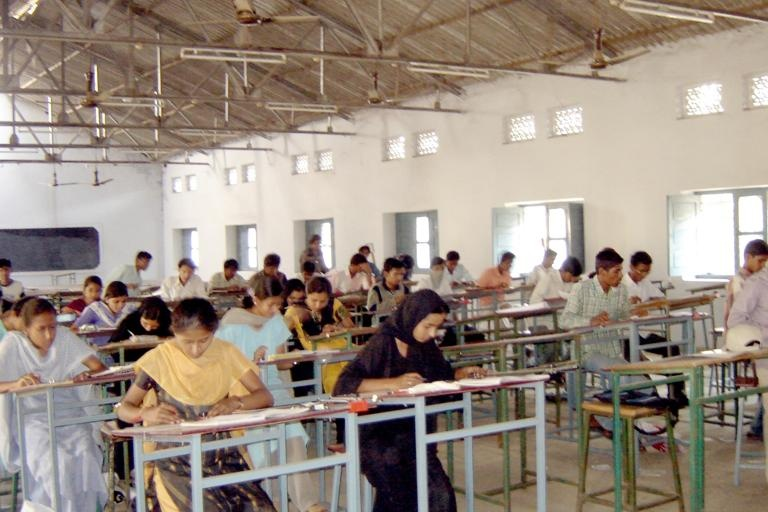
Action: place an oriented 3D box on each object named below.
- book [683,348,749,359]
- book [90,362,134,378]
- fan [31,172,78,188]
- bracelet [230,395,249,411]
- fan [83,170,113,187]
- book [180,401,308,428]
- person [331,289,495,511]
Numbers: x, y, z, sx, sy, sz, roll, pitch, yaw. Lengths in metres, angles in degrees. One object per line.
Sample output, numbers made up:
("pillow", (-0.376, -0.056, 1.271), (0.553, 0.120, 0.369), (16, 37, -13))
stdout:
("book", (2.853, 0.819, 6.517), (0.465, 0.036, 0.573), (-5, -1, 32))
("book", (-2.366, 0.983, 6.663), (0.289, 0.077, 0.269), (-2, 3, -35))
("fan", (-9.928, -2.321, 23.364), (0.378, 0.389, 1.161), (-5, -1, 38))
("bracelet", (-1.058, 1.077, 5.647), (0.120, 0.036, 0.092), (-11, 10, 10))
("fan", (-8.823, -2.385, 23.476), (0.647, 0.313, 0.743), (1, 4, 42))
("book", (-0.923, 1.068, 5.133), (0.846, 0.036, 0.384), (-4, -1, -21))
("person", (0.178, 1.092, 5.858), (1.025, 1.605, 0.549), (-4, -1, -38))
